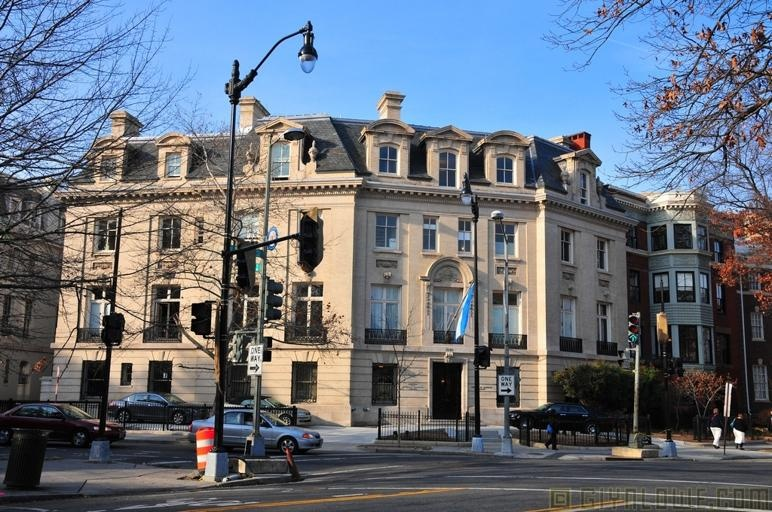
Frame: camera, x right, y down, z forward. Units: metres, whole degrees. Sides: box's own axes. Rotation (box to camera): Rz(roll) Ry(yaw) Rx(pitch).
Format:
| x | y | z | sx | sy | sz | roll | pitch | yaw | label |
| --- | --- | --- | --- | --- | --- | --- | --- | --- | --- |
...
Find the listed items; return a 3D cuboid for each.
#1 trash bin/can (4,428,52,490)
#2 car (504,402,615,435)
| x | y | z | sx | sy | sz | roll | pitch | yaw | label |
| --- | --- | --- | --- | --- | --- | --- | --- | --- | --- |
| -11.734 | 6.525 | 30.970 | 1.336 | 1.651 | 1.887 | 2 | -3 | -35 | trash bin/can |
| 9.613 | 8.825 | 51.787 | 5.571 | 1.429 | 2.184 | 4 | -10 | 1 | car |
